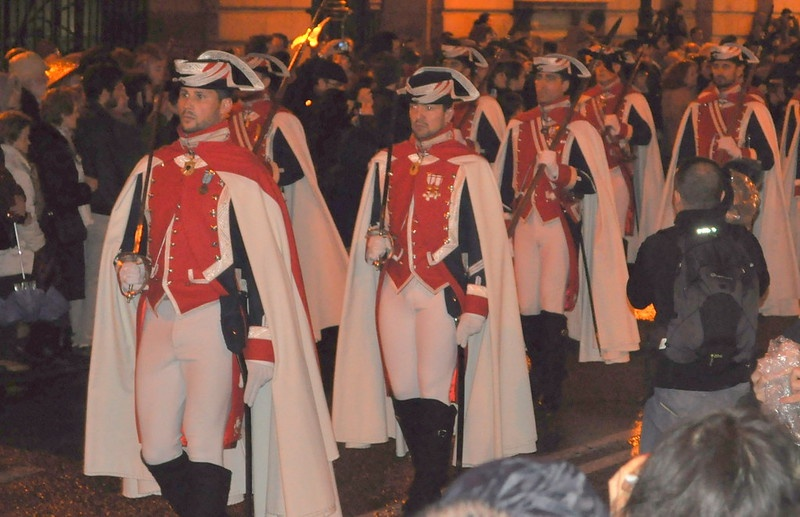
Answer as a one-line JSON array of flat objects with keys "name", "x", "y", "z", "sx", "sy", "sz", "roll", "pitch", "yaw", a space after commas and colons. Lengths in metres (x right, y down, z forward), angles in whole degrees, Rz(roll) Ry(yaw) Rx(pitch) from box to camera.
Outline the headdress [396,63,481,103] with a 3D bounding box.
[{"name": "headdress", "x": 0.344, "y": -1.440, "z": 9.886, "sx": 0.449, "sy": 0.152, "sz": 0.407, "roll": 7, "pitch": 8, "yaw": 44}]

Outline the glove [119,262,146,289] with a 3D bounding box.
[{"name": "glove", "x": -2.007, "y": 0.118, "z": 8.908, "sx": 0.239, "sy": 0.183, "sz": 0.078, "roll": 1, "pitch": 1, "yaw": -8}]

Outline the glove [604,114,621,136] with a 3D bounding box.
[{"name": "glove", "x": 2.293, "y": -1.464, "z": 12.876, "sx": 0.201, "sy": 0.227, "sz": 0.090, "roll": -2, "pitch": 21, "yaw": 23}]

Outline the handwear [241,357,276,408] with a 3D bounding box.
[{"name": "handwear", "x": -1.088, "y": 0.956, "z": 9.135, "sx": 0.219, "sy": 0.383, "sz": 0.119, "roll": 0, "pitch": 10, "yaw": -18}]

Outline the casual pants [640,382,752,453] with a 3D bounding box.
[{"name": "casual pants", "x": 2.071, "y": 1.082, "z": 8.236, "sx": 0.476, "sy": 0.565, "sz": 0.318, "roll": 24, "pitch": -13, "yaw": 13}]

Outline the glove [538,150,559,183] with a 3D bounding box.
[{"name": "glove", "x": 1.393, "y": -0.884, "z": 11.128, "sx": 0.104, "sy": 0.200, "sz": 0.277, "roll": 2, "pitch": -37, "yaw": 21}]

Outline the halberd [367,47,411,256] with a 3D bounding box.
[{"name": "halberd", "x": -0.064, "y": -1.398, "z": 11.393, "sx": 0.313, "sy": 0.123, "sz": 2.413, "roll": 7, "pitch": 50, "yaw": -1}]

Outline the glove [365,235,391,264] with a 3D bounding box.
[{"name": "glove", "x": -0.183, "y": -0.082, "z": 9.879, "sx": 0.263, "sy": 0.187, "sz": 0.217, "roll": -17, "pitch": -14, "yaw": 37}]

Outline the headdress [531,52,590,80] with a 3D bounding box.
[{"name": "headdress", "x": 1.566, "y": -1.886, "z": 11.585, "sx": 0.498, "sy": 0.176, "sz": 0.372, "roll": 12, "pitch": -6, "yaw": -16}]

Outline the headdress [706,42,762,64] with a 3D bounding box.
[{"name": "headdress", "x": 3.625, "y": -2.242, "z": 12.947, "sx": 0.515, "sy": 0.222, "sz": 0.347, "roll": 11, "pitch": 4, "yaw": -5}]

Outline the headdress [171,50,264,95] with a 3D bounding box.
[{"name": "headdress", "x": -1.409, "y": -1.428, "z": 9.162, "sx": 0.519, "sy": 0.166, "sz": 0.387, "roll": 5, "pitch": -1, "yaw": -10}]

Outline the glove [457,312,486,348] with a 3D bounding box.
[{"name": "glove", "x": 0.579, "y": 0.594, "z": 9.790, "sx": 0.203, "sy": 0.284, "sz": 0.138, "roll": 19, "pitch": -1, "yaw": 16}]
